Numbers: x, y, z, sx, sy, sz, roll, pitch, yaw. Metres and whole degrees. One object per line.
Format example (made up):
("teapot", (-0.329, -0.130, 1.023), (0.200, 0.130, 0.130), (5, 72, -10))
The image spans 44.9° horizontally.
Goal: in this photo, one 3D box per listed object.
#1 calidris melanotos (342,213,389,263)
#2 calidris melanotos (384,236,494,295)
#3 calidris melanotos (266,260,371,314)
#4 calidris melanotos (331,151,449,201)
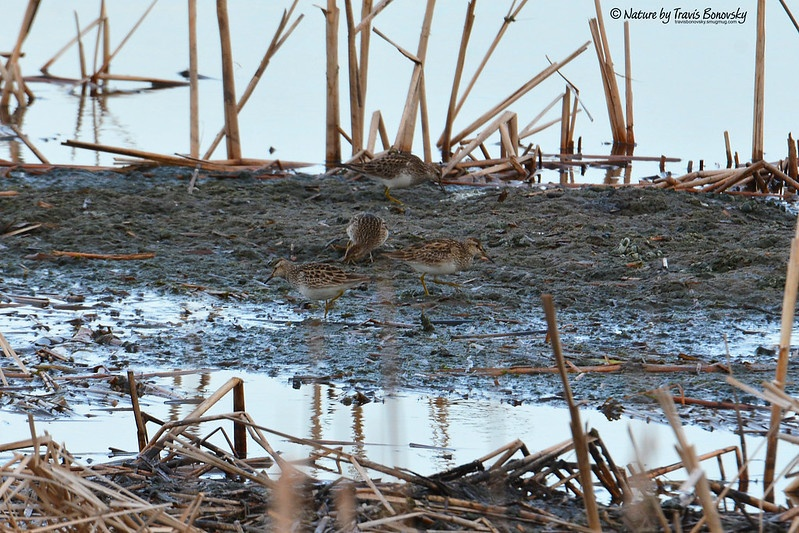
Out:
("calidris melanotos", (-0.380, -0.309, 10.455), (0.465, 0.563, 0.377), (0, -19, -3))
("calidris melanotos", (0.419, -0.091, 9.955), (0.608, 0.430, 0.875), (-11, -18, 31))
("calidris melanotos", (-0.785, 0.207, 9.311), (0.544, 0.648, 0.835), (12, -21, -33))
("calidris melanotos", (-0.034, -1.280, 12.819), (2.048, 0.524, 0.521), (6, 6, -1))
